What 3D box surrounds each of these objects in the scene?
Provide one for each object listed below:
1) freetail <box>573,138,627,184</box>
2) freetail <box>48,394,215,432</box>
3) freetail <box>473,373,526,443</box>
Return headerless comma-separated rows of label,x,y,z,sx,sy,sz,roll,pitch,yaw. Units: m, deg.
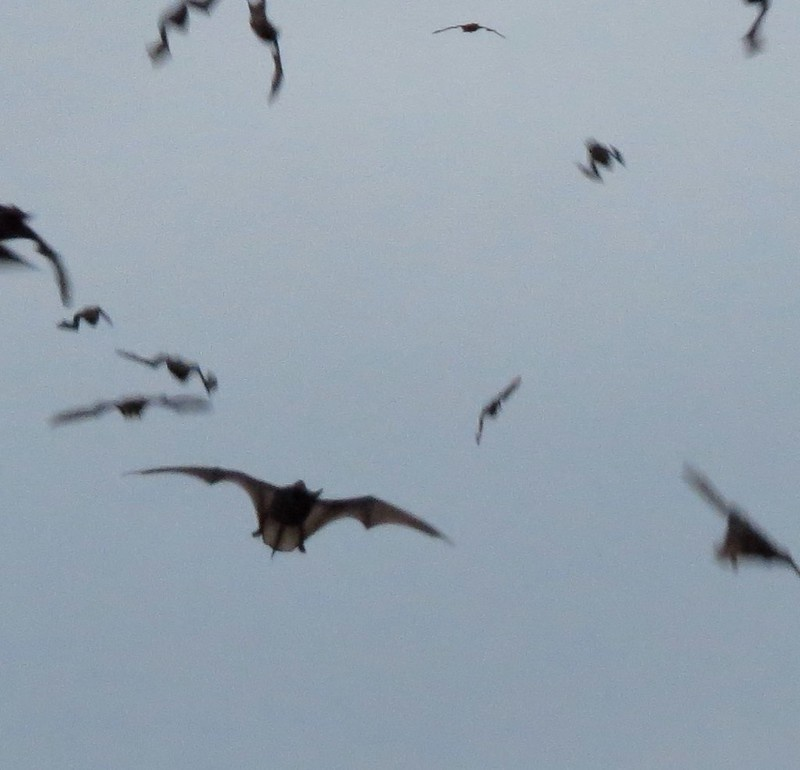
freetail,0.283,-0.327,3.340,0.045,0.066,0.023,-22,6,6
freetail,-0.376,0.032,3.259,0.197,0.053,0.034,-5,17,-2
freetail,0.120,0.019,3.056,0.011,0.033,0.133,-1,39,37
